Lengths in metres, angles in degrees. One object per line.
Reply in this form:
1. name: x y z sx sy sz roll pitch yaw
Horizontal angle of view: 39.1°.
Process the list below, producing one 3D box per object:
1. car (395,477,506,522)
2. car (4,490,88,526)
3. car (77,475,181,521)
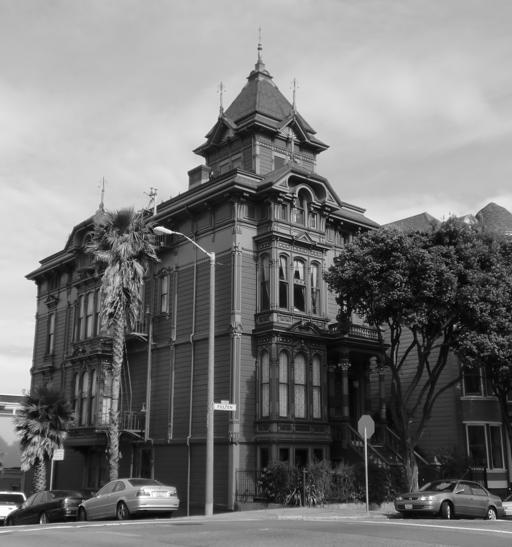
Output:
1. car: 6.214 7.325 23.423 3.413 1.221 1.367 12 -22 -33
2. car: -7.067 8.020 25.019 3.232 0.996 1.457 -22 -29 40
3. car: -4.105 7.050 22.469 3.094 0.986 1.380 -21 -32 36
